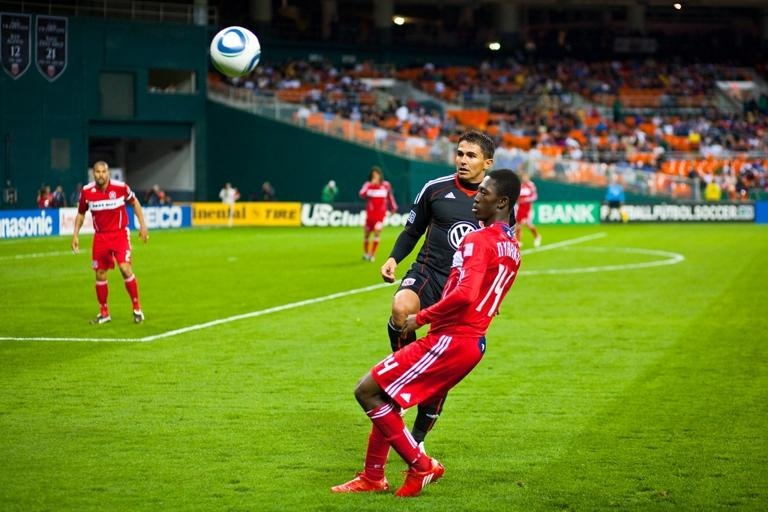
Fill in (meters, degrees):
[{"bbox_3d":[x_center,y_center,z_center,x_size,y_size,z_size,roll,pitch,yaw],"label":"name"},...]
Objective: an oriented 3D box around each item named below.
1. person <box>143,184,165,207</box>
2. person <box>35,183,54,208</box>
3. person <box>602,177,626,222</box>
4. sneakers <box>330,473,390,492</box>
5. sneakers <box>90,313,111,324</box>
[{"bbox_3d":[-7.868,-2.160,33.773,0.666,0.706,1.079,-2,14,-7],"label":"person"},{"bbox_3d":[-10.458,-1.848,30.184,0.466,0.668,0.796,-3,15,-13],"label":"person"},{"bbox_3d":[8.207,-2.077,34.682,0.608,0.545,1.838,-1,-12,6],"label":"person"},{"bbox_3d":[-0.281,2.704,11.566,0.684,0.252,0.242,2,-13,-2],"label":"sneakers"},{"bbox_3d":[-4.806,1.075,16.762,0.381,0.168,0.117,-4,-16,-45],"label":"sneakers"}]
